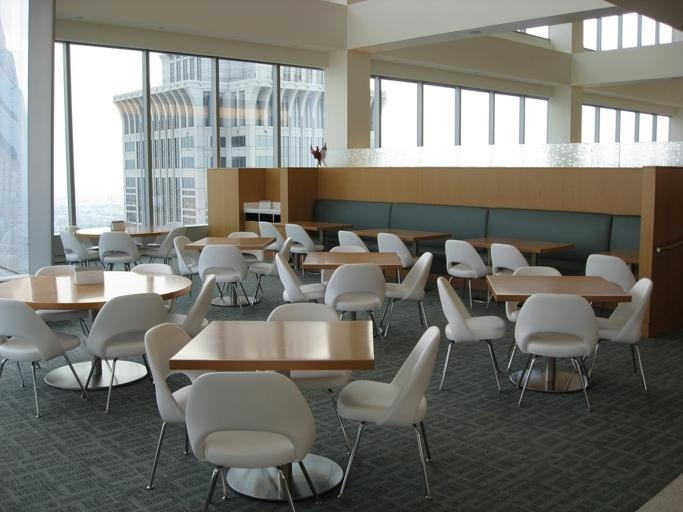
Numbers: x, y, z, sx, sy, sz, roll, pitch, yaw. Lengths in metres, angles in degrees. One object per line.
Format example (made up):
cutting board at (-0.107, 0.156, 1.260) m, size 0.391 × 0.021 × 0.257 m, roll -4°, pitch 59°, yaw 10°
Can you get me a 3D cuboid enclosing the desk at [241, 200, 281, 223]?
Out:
desk at (-1.599, -0.974, 11.477) m, size 0.876 × 0.425 × 0.540 m, roll 3°, pitch 13°, yaw 30°
